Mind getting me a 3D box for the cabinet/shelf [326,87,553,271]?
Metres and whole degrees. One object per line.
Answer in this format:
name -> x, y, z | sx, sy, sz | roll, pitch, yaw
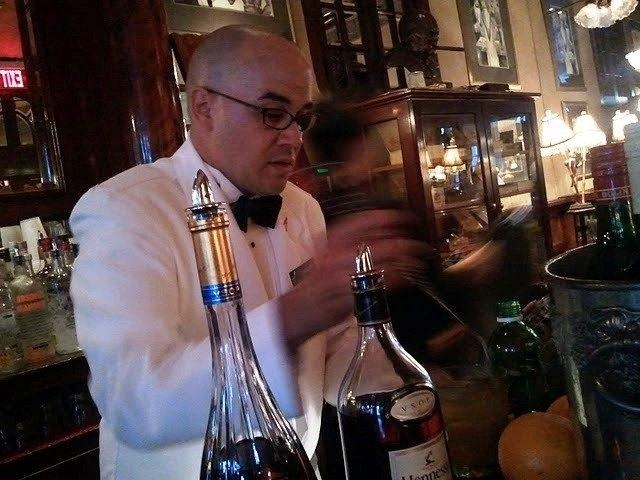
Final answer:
cabinet/shelf -> 1.196, -0.287, 3.906 | 1.800, 1.770, 0.664 | -10, 4, -36
